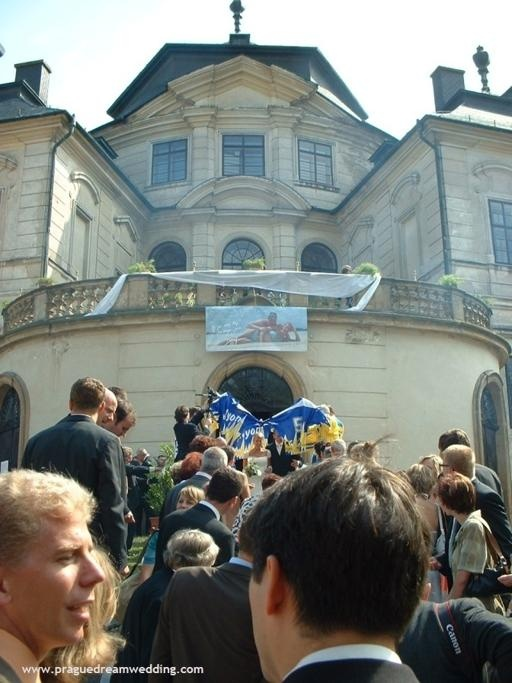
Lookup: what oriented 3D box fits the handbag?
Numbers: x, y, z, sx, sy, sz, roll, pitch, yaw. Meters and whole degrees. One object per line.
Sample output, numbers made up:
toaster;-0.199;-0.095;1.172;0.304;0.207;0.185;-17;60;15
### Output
handbag;1.519;1.370;4.277;0.297;0.426;0.333;10;-10;-34
